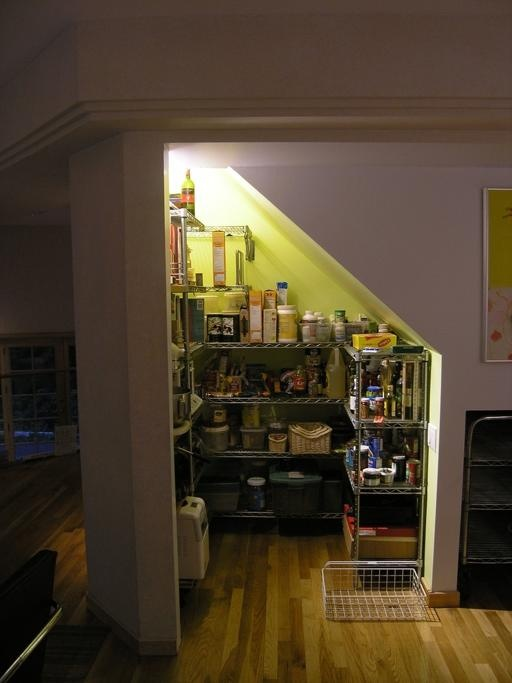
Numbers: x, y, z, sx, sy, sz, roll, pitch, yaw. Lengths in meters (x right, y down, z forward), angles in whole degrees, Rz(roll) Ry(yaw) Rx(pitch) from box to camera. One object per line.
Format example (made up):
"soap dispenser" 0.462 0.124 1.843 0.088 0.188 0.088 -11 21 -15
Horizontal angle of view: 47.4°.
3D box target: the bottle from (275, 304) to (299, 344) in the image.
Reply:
"bottle" 0.192 -0.099 3.595 0.197 0.312 0.198 -1 7 0

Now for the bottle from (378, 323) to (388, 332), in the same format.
"bottle" 0.747 -0.081 3.405 0.060 0.044 0.060 -1 4 0

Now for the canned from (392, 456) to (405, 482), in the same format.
"canned" 0.759 0.667 3.062 0.064 0.132 0.044 1 4 6

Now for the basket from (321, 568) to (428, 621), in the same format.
"basket" 0.588 1.208 2.922 0.513 0.141 0.498 1 4 2

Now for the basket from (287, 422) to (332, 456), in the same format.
"basket" 0.343 0.623 3.710 0.278 0.176 0.199 1 4 6

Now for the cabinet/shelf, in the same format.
"cabinet/shelf" 0.217 0.165 3.508 1.350 2.103 1.384 0 4 -3

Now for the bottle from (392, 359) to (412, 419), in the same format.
"bottle" 0.757 0.244 3.017 0.086 0.306 0.271 1 4 4

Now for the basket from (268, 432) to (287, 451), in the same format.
"basket" 0.134 0.636 3.716 0.102 0.079 0.100 0 8 8

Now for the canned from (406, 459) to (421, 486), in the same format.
"canned" 0.818 0.677 3.020 0.065 0.123 0.092 1 4 10
